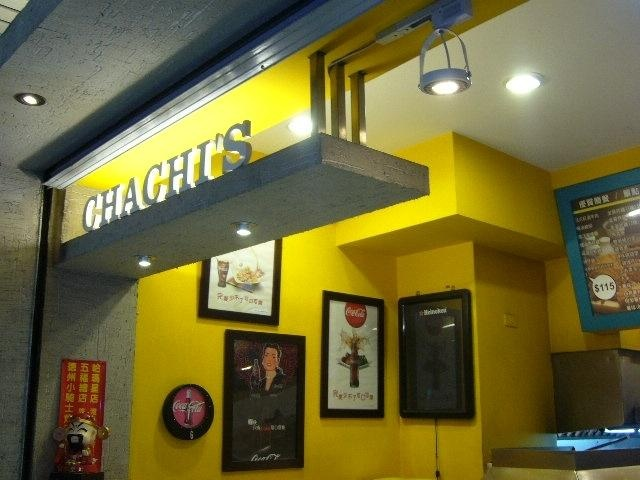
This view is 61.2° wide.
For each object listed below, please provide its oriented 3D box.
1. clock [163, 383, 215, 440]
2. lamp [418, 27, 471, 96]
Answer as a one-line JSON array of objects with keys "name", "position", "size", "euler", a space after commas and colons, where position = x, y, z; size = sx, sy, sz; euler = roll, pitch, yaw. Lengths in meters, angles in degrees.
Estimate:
[{"name": "clock", "position": [-0.909, 1.182, 3.709], "size": [0.322, 0.364, 0.047], "euler": [23, -36, -31]}, {"name": "lamp", "position": [0.474, -0.708, 2.091], "size": [0.202, 0.210, 0.186], "euler": [2, 19, 27]}]
